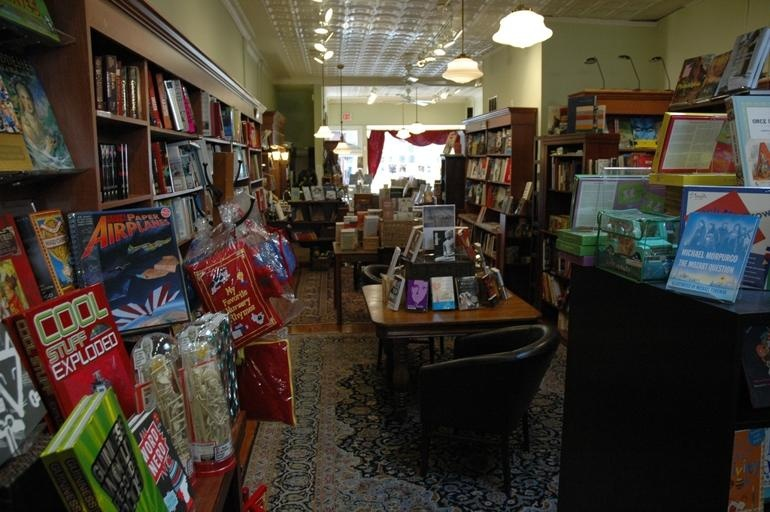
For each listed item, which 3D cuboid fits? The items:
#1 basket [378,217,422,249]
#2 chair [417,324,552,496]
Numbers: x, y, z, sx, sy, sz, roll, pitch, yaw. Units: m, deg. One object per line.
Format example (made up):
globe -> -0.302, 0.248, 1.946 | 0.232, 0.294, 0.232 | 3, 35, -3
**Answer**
basket -> 0.145, -0.291, 6.136 | 0.568, 0.401, 0.307 | 0, 3, -5
chair -> 0.664, 0.971, 3.301 | 0.848, 0.913, 0.853 | 1, -3, 32
